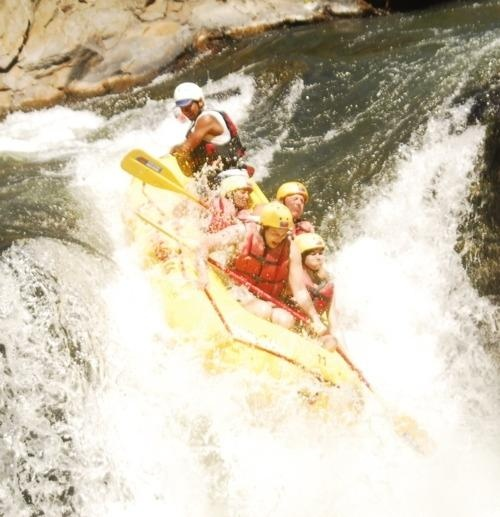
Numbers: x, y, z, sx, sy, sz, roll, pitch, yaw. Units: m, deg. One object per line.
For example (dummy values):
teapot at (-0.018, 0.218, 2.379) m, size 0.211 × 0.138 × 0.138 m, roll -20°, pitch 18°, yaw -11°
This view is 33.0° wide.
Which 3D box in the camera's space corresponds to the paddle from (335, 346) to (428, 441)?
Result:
paddle at (1.100, 1.166, 8.031) m, size 0.436 × 0.097 × 1.750 m, roll 26°, pitch 12°, yaw -26°

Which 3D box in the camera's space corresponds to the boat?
boat at (-0.309, 0.249, 7.616) m, size 1.422 × 2.966 × 0.550 m, roll -14°, pitch -27°, yaw -39°

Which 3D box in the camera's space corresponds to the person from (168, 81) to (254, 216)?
person at (-0.460, -1.057, 8.790) m, size 0.826 × 1.546 × 0.514 m, roll -9°, pitch 21°, yaw -6°

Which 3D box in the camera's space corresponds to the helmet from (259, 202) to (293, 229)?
helmet at (0.228, -0.375, 7.521) m, size 0.299 × 0.270 × 0.218 m, roll 4°, pitch -20°, yaw 6°
